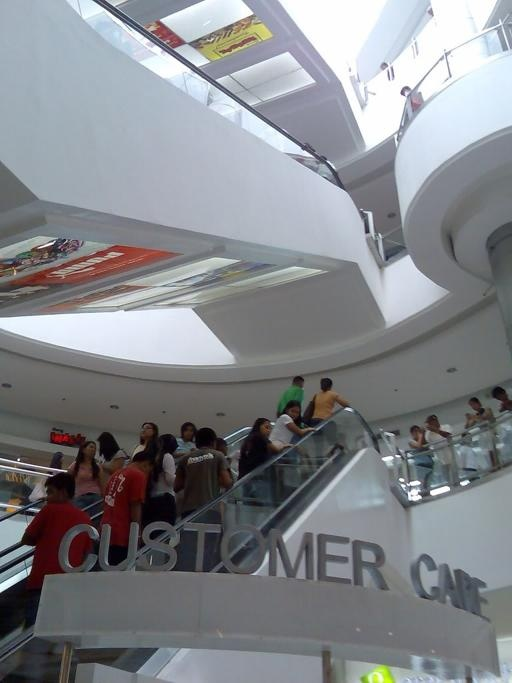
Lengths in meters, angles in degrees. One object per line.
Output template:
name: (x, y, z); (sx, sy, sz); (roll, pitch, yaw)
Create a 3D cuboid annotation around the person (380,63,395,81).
person: (5.404, -11.050, 16.855); (0.300, 0.843, 0.471); (-9, -1, -34)
